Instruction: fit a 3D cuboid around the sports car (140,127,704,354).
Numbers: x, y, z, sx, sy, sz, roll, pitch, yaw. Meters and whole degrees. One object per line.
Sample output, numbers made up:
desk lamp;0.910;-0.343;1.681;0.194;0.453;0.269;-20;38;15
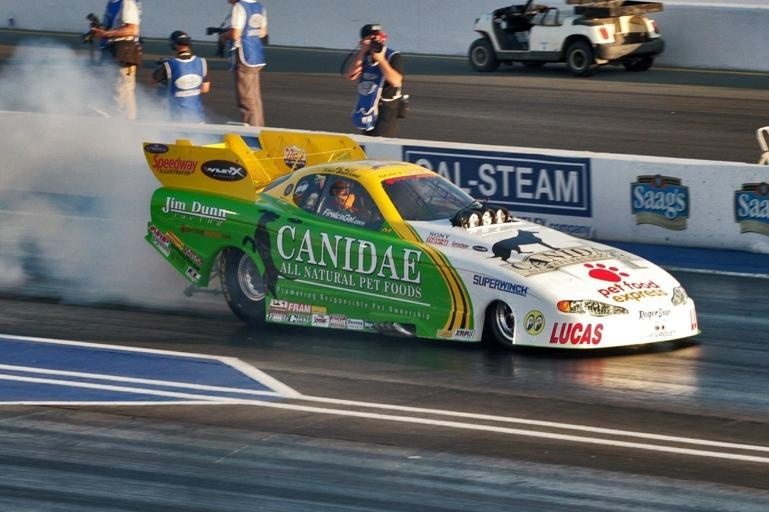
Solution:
sports car;0.280;-0.207;16.505;6.031;1.233;2.758;3;5;22

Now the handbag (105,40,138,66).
handbag;-4.032;-3.142;21.956;0.586;0.260;0.455;-5;14;-14

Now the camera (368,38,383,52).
camera;-0.098;-2.932;19.740;0.196;0.184;0.166;-2;15;-11

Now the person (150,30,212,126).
person;-2.987;-2.612;20.699;0.712;1.333;0.674;2;16;4

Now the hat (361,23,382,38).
hat;-0.206;-3.152;19.867;0.193;0.174;0.350;-10;16;-36

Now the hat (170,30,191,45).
hat;-2.956;-3.155;20.497;0.244;0.181;0.284;-3;13;-14
